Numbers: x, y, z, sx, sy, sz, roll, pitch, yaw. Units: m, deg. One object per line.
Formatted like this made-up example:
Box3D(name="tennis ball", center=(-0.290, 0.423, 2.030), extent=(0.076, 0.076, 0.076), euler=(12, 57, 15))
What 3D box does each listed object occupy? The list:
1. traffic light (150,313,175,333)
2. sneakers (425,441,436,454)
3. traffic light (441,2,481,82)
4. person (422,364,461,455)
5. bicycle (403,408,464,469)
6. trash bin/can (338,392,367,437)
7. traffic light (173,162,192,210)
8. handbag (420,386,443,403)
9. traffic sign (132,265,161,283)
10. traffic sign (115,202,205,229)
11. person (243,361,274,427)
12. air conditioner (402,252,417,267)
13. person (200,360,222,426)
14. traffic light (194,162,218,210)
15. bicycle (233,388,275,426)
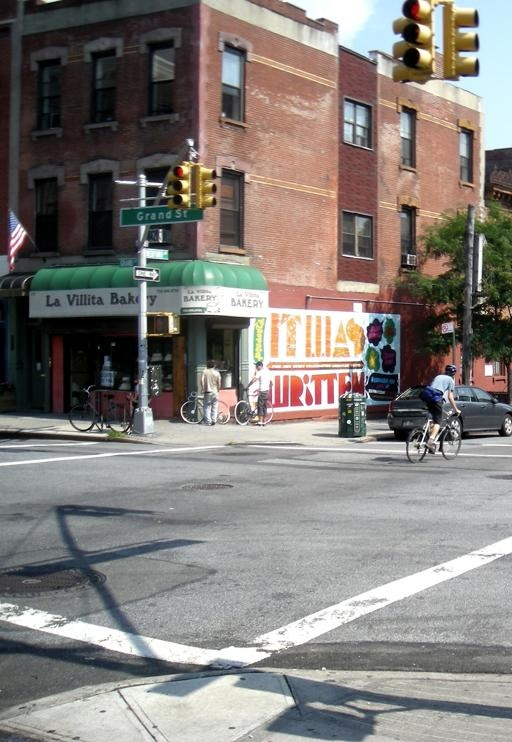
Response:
Box3D(name="traffic light", center=(-2.028, -1.037, 21.605), extent=(0.548, 0.410, 0.356), euler=(0, -4, 3))
Box3D(name="sneakers", center=(2.905, 1.284, 16.395), extent=(0.160, 0.146, 0.302), euler=(-1, -4, 8))
Box3D(name="traffic light", center=(1.840, -2.986, 8.923), extent=(0.306, 0.686, 0.273), euler=(-1, -4, 10))
Box3D(name="person", center=(3.299, 0.647, 17.576), extent=(0.570, 1.575, 2.893), euler=(-1, -4, 12))
Box3D(name="bicycle", center=(2.958, 1.162, 16.901), extent=(0.626, 0.733, 1.287), euler=(4, 5, 39))
Box3D(name="trash bin/can", center=(2.133, 0.971, 21.842), extent=(0.552, 0.993, 0.723), euler=(0, -4, 4))
Box3D(name="traffic light", center=(-1.313, -3.331, 17.610), extent=(0.286, 0.848, 0.553), euler=(-1, -4, 14))
Box3D(name="handbag", center=(2.902, 0.382, 16.304), extent=(0.221, 0.224, 0.310), euler=(-1, -25, 42))
Box3D(name="traffic sign", center=(-2.289, -2.023, 20.427), extent=(0.233, 0.301, 0.730), euler=(-3, -5, 40))
Box3D(name="traffic sign", center=(-1.881, -3.042, 19.130), extent=(0.424, 0.524, 2.199), euler=(4, -5, -44))
Box3D(name="person", center=(0.042, 0.607, 25.529), extent=(0.539, 1.596, 1.486), euler=(0, -4, -1))
Box3D(name="air conditioner", center=(5.105, -3.828, 32.927), extent=(0.380, 0.505, 0.702), euler=(1, -2, 23))
Box3D(name="person", center=(-1.120, 0.555, 23.946), extent=(0.403, 1.505, 1.409), euler=(0, -4, -3))
Box3D(name="traffic light", center=(-0.903, -3.322, 17.456), extent=(0.377, 1.011, 1.105), euler=(0, -4, -5))
Box3D(name="bicycle", center=(-0.064, 0.979, 25.790), extent=(1.221, 0.751, 0.516), euler=(-8, 8, -37))
